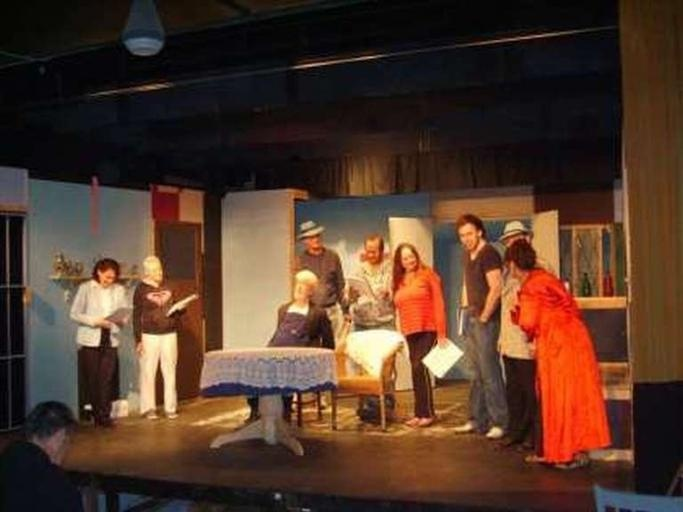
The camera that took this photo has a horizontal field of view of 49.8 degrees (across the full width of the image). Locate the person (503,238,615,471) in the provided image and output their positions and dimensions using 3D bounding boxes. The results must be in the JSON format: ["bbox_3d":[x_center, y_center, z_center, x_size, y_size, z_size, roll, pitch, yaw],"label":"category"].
[{"bbox_3d":[1.737,0.774,5.924,0.754,1.814,0.346,-1,4,14],"label":"person"}]

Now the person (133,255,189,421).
[{"bbox_3d":[-2.032,0.873,7.954,0.439,1.739,0.228,-3,4,-18],"label":"person"}]

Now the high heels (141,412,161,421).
[{"bbox_3d":[-2.065,1.722,7.979,0.082,0.068,0.221,8,-15,-44],"label":"high heels"}]

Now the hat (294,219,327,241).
[{"bbox_3d":[-0.398,-0.349,8.542,0.269,0.132,0.307,-16,-5,-16],"label":"hat"}]

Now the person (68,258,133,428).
[{"bbox_3d":[-2.490,0.872,7.581,0.571,1.673,0.526,-3,4,-22],"label":"person"}]

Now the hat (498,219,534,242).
[{"bbox_3d":[1.850,-0.278,7.745,0.319,0.139,0.281,8,-31,-39],"label":"hat"}]
